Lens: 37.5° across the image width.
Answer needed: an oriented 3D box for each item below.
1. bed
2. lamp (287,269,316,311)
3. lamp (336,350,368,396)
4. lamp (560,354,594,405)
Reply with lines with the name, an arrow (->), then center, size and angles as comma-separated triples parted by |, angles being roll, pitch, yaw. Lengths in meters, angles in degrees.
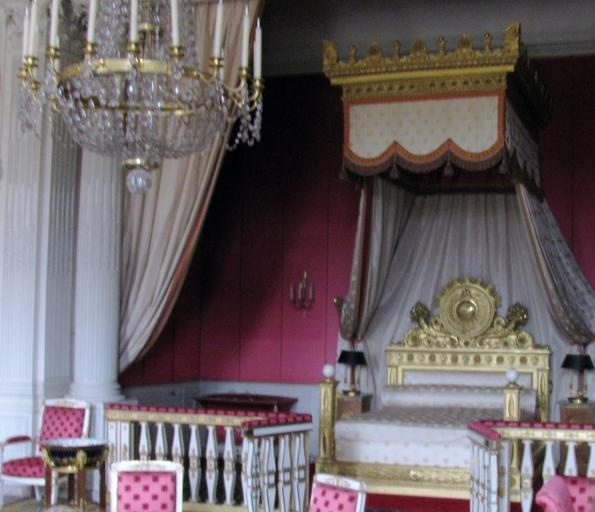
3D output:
bed -> 1.529, 1.306, 9.425 | 1.850, 2.660, 2.766 | -1, -9, 24
lamp -> 0.053, 0.437, 11.180 | 0.355, 0.743, 0.157 | 2, 1, 16
lamp -> 0.650, 1.402, 10.556 | 0.361, 0.677, 0.434 | 0, -10, 0
lamp -> 3.127, 1.352, 9.708 | 0.370, 0.724, 0.441 | 0, -8, -3
